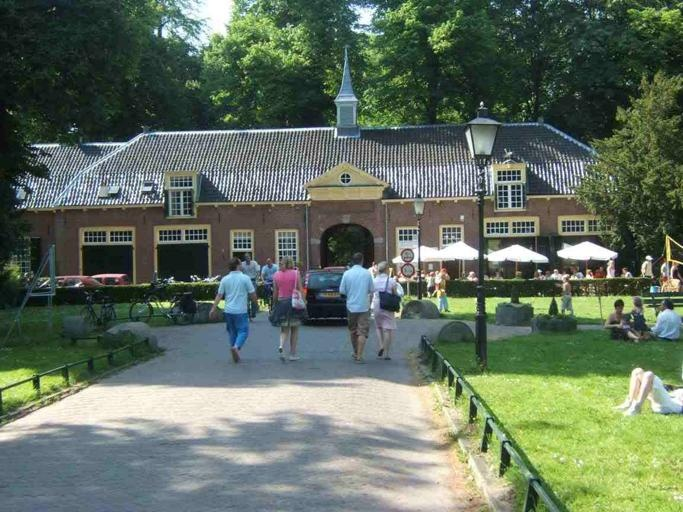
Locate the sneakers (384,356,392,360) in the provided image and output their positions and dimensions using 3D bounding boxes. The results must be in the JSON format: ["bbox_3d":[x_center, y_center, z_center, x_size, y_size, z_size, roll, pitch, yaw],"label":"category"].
[{"bbox_3d":[1.064,2.298,19.477,0.172,0.121,0.056,-3,4,-18],"label":"sneakers"}]

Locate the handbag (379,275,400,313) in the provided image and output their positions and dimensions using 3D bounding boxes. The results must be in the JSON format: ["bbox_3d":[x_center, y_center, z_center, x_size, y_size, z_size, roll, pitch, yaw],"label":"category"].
[{"bbox_3d":[1.133,0.809,19.215,0.542,0.800,0.189,3,28,14],"label":"handbag"}]

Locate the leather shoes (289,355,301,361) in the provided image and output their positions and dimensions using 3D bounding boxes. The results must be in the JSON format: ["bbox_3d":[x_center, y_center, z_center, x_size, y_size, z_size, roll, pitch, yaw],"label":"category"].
[{"bbox_3d":[-1.066,2.260,19.389,0.235,0.133,0.318,-1,7,-5],"label":"leather shoes"}]

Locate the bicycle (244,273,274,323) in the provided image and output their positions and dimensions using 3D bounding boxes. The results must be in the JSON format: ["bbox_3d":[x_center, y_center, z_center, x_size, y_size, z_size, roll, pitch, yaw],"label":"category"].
[{"bbox_3d":[-3.004,1.436,29.894,1.028,1.417,2.333,0,-3,-1],"label":"bicycle"}]

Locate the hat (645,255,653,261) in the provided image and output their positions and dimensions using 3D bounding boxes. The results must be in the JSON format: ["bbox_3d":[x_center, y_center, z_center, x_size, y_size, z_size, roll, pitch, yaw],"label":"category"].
[{"bbox_3d":[14.517,0.094,40.412,0.439,0.214,0.453,2,-1,14],"label":"hat"}]

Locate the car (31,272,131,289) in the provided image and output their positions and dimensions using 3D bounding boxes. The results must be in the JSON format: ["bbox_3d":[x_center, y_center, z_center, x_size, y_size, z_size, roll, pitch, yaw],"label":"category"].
[{"bbox_3d":[-12.009,1.137,40.028,2.180,0.714,1.007,0,1,2],"label":"car"}]

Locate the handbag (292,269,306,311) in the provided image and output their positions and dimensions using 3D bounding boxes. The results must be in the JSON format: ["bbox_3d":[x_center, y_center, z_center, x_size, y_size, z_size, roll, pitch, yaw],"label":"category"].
[{"bbox_3d":[-0.986,0.778,19.381,0.299,0.827,0.452,-1,7,-3],"label":"handbag"}]

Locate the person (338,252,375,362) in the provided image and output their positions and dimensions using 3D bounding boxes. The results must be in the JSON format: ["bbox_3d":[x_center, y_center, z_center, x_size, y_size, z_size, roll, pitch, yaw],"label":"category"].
[{"bbox_3d":[0.359,1.152,19.563,0.739,2.468,1.570,0,7,1],"label":"person"}]

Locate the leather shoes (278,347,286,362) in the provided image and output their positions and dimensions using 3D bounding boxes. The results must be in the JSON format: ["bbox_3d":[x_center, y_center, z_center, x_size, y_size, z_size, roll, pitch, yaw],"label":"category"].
[{"bbox_3d":[-1.328,2.180,19.121,0.124,0.390,0.164,-1,35,4],"label":"leather shoes"}]

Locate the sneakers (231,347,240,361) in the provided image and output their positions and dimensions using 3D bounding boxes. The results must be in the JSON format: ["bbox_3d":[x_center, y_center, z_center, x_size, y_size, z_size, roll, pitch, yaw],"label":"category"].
[{"bbox_3d":[-2.372,2.191,19.074,0.146,0.356,0.158,-15,8,-4],"label":"sneakers"}]

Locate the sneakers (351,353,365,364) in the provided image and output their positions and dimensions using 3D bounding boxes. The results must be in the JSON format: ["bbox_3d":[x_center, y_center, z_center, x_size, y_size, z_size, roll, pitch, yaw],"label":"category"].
[{"bbox_3d":[0.356,2.275,19.110,0.198,0.246,0.566,1,1,1],"label":"sneakers"}]
